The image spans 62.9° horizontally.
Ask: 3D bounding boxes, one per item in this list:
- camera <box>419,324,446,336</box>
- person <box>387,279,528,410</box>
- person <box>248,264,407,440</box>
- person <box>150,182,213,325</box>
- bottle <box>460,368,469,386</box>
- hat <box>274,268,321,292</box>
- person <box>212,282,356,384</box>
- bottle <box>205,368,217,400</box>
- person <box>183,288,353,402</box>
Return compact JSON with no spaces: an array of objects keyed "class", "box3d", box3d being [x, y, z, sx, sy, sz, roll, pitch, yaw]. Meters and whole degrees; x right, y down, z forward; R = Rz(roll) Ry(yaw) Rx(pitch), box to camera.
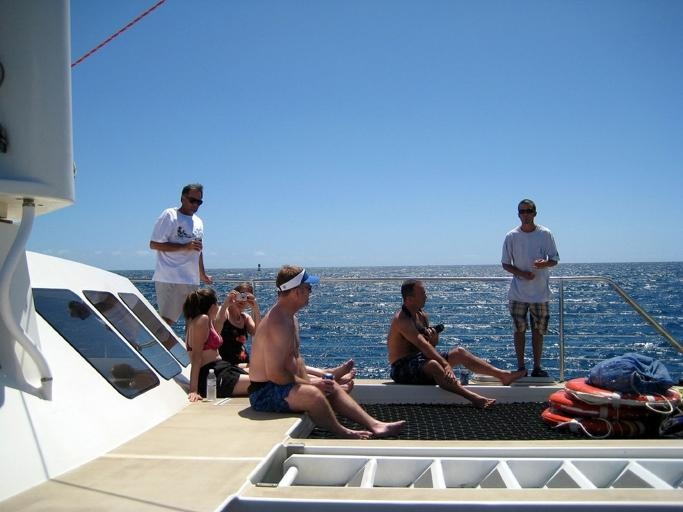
[{"class":"camera","box3d":[0.852,0.704,5.431,0.154,0.067,0.152,0,-2,-29]},{"class":"person","box3d":[1.014,0.750,5.168,1.176,1.034,0.805,2,4,42]},{"class":"person","box3d":[-0.075,0.729,4.140,1.192,1.274,0.701,2,3,3]},{"class":"person","box3d":[-1.627,-0.011,5.573,0.521,1.396,0.572,-2,3,-16]},{"class":"bottle","box3d":[1.157,1.157,5.321,0.115,0.158,0.116,0,-6,0]},{"class":"hat","box3d":[-0.309,0.175,4.120,0.235,0.075,0.144,-17,10,-26]},{"class":"person","box3d":[-0.614,0.680,5.324,1.427,1.058,0.662,7,8,-4]},{"class":"bottle","box3d":[-1.021,1.014,4.390,0.083,0.232,0.246,-2,3,-13]},{"class":"person","box3d":[-0.627,0.718,4.630,1.276,0.945,0.844,-2,1,12]}]
